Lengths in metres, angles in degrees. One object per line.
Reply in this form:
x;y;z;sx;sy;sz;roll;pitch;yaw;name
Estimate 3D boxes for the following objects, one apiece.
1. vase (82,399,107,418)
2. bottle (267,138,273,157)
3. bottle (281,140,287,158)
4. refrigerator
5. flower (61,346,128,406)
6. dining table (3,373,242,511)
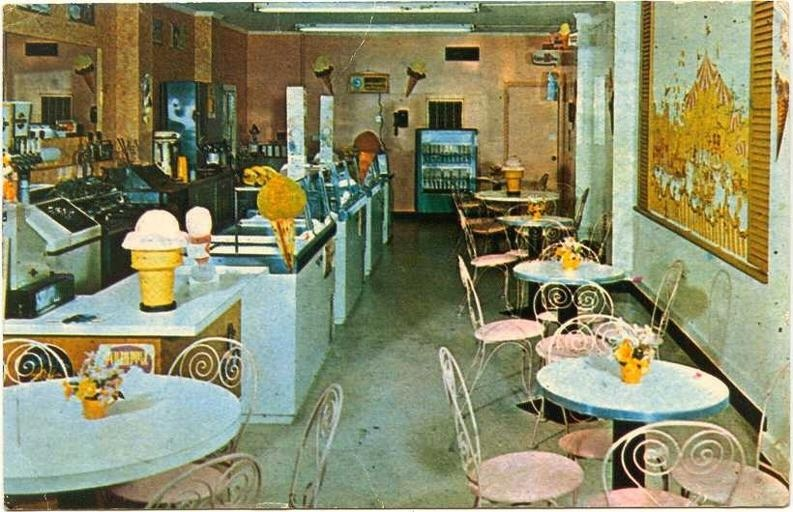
-1.683;0.854;3.596;0.134;0.086;0.124;2;5;6;vase
-2.846;-2.430;14.419;0.125;0.281;0.493;-6;15;-10;bottle
-2.545;-2.387;14.276;0.134;0.284;0.397;-7;15;-11;bottle
1.474;-2.052;15.184;1.736;1.919;1.386;3;9;21;refrigerator
-1.737;0.681;3.703;0.331;0.268;0.376;1;7;-9;flower
-1.532;0.955;3.556;1.273;0.219;0.822;-7;15;-17;dining table
